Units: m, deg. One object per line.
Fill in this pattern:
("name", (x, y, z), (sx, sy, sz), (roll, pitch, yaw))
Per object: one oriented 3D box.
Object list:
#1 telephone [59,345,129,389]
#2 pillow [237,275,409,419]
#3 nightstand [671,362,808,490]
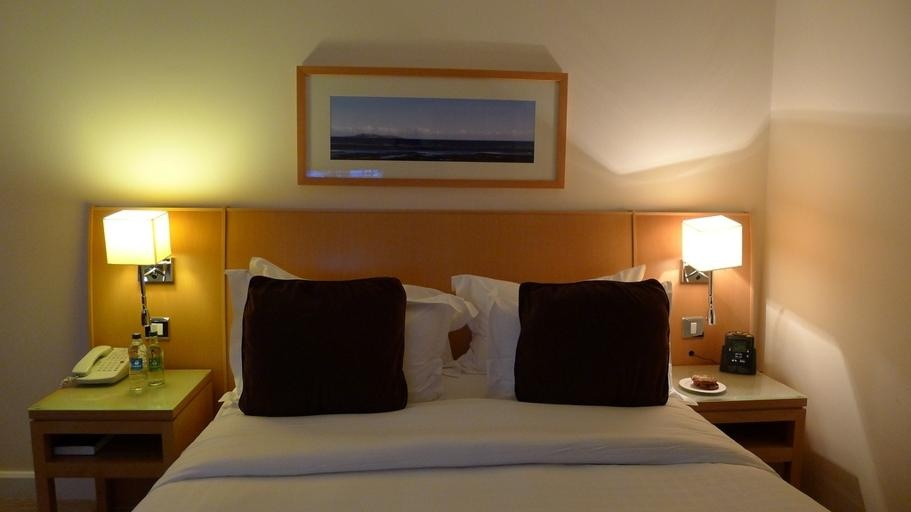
("telephone", (-2.362, 0.709, 4.303), (0.345, 0.123, 0.303), (-1, 23, 2))
("pillow", (-0.802, 0.582, 3.989), (0.880, 0.670, 0.311), (-1, -12, -1))
("nightstand", (1.902, 1.112, 4.745), (0.869, 0.809, 0.824), (-1, 15, 1))
